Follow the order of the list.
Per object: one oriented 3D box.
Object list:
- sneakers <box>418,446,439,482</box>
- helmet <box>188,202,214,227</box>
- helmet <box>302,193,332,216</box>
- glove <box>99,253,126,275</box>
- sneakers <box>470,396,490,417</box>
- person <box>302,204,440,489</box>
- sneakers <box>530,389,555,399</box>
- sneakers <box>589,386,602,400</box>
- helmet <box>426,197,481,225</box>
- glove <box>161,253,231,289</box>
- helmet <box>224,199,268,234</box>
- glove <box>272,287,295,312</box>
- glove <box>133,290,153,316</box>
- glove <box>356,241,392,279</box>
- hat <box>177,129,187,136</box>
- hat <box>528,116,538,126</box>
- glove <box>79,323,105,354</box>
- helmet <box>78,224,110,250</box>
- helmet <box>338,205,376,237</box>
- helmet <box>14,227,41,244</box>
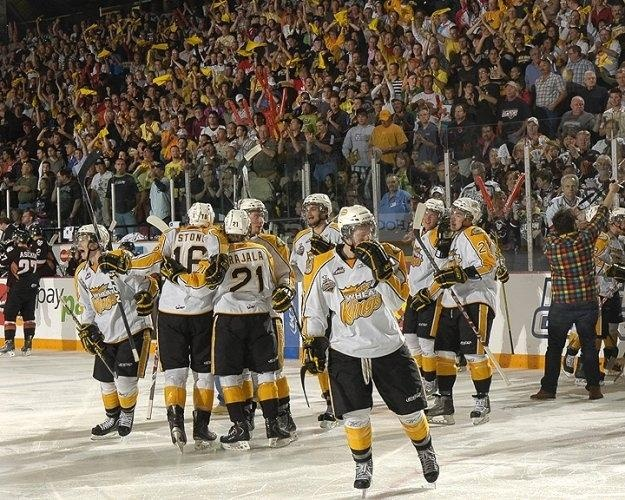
[{"bbox_3d":[0.965,1.784,7.386,0.117,0.361,0.140,-15,-19,19],"label":"sneakers"},{"bbox_3d":[-1.127,-0.376,9.198,0.211,0.257,0.255,-3,13,-27],"label":"helmet"},{"bbox_3d":[0.046,-0.566,9.971,0.224,0.276,0.282,-13,-29,33],"label":"helmet"},{"bbox_3d":[-2.043,0.127,9.129,0.317,0.219,0.105,-5,-4,21],"label":"glove"},{"bbox_3d":[1.776,1.666,9.455,0.202,0.231,0.182,-4,-4,7],"label":"sneakers"},{"bbox_3d":[0.457,0.811,7.360,1.063,2.361,0.546,-3,-4,-2],"label":"person"},{"bbox_3d":[2.690,1.680,10.435,0.301,0.136,0.111,2,-5,-11],"label":"sneakers"},{"bbox_3d":[3.293,1.661,10.371,0.158,0.147,0.197,-4,-4,16],"label":"sneakers"},{"bbox_3d":[1.599,-0.492,9.854,0.473,0.226,0.347,14,5,3],"label":"helmet"},{"bbox_3d":[-1.129,0.221,8.549,0.425,0.172,0.429,5,-24,13],"label":"glove"},{"bbox_3d":[-0.645,-0.380,9.501,0.372,0.407,0.302,7,11,31],"label":"helmet"},{"bbox_3d":[-0.290,0.499,8.934,0.189,0.219,0.245,22,-13,-11],"label":"glove"},{"bbox_3d":[-1.722,0.539,9.175,0.182,0.250,0.239,1,17,-4],"label":"glove"},{"bbox_3d":[0.505,0.070,7.231,0.201,0.345,0.150,-40,-2,-5],"label":"glove"},{"bbox_3d":[-2.537,-2.312,17.500,0.166,0.127,0.171,3,-3,-10],"label":"hat"},{"bbox_3d":[2.971,-1.758,11.991,0.155,0.123,0.131,0,-5,-44],"label":"hat"},{"bbox_3d":[-2.351,0.914,9.568,0.213,0.332,0.115,-26,0,9],"label":"glove"},{"bbox_3d":[-2.414,-0.154,9.878,0.352,0.303,0.295,-2,-4,-21],"label":"helmet"},{"bbox_3d":[0.362,-0.249,7.377,0.272,0.279,0.220,-5,6,26],"label":"helmet"},{"bbox_3d":[-5.052,-0.275,15.813,0.359,0.407,0.318,-7,12,12],"label":"helmet"}]
